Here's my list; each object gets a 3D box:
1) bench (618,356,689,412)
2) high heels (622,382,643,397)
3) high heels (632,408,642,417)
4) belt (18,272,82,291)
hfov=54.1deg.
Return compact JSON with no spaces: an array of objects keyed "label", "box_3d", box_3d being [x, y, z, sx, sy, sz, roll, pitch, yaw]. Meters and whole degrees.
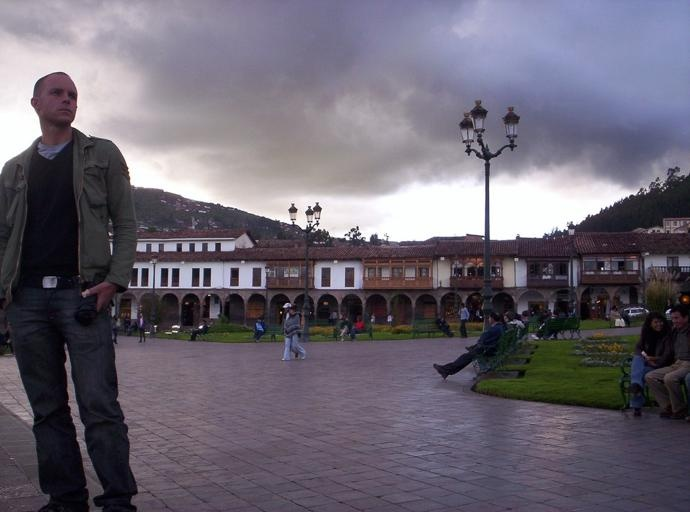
[{"label":"bench","box_3d":[4.236,1.760,9.233,0.579,0.800,0.593,-15,-29,39]},{"label":"high heels","box_3d":[3.881,1.811,9.219,0.304,0.131,0.149,-2,-45,7]},{"label":"high heels","box_3d":[3.973,2.131,9.222,0.097,0.106,0.112,3,0,17]},{"label":"belt","box_3d":[-2.145,0.191,4.913,0.432,0.104,0.089,-2,-4,12]}]
